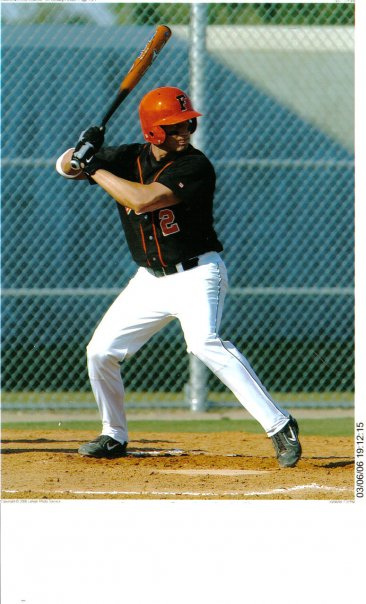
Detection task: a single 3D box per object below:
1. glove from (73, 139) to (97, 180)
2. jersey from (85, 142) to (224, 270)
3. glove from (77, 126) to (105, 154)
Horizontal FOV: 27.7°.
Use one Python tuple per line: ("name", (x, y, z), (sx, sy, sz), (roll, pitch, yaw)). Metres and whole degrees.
("glove", (-0.398, -0.604, 3.153), (0.073, 0.149, 0.113), (2, 38, 24))
("jersey", (-0.077, -0.388, 3.304), (0.630, 0.232, 0.570), (5, 50, -22))
("glove", (-0.399, -0.703, 3.239), (0.108, 0.047, 0.135), (11, 19, -11))
